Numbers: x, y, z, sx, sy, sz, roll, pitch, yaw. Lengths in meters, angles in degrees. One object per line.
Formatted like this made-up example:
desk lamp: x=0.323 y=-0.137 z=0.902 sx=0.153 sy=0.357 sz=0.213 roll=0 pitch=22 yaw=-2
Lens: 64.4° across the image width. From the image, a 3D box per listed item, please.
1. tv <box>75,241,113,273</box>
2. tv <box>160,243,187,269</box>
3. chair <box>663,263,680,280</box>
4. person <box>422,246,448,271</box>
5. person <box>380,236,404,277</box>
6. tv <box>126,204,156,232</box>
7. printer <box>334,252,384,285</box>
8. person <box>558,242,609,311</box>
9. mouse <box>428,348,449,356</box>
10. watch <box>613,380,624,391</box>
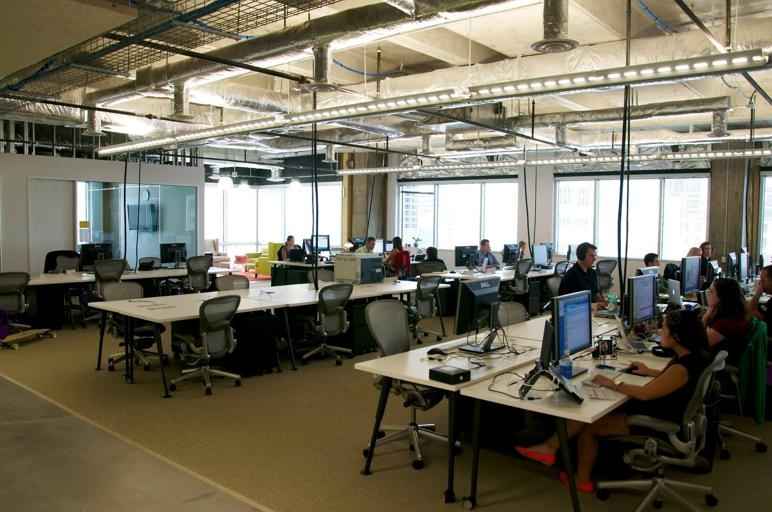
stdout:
tv: x=-5.548 y=0.050 z=11.585 sx=0.645 sy=0.594 sz=0.204 roll=0 pitch=2 yaw=-42
tv: x=-4.563 y=0.013 z=13.080 sx=0.575 sy=0.481 sz=0.193 roll=-1 pitch=9 yaw=-33
chair: x=4.908 y=0.280 z=10.523 sx=0.284 sy=0.306 sz=0.261 roll=6 pitch=8 yaw=44
person: x=1.126 y=0.081 z=14.054 sx=0.567 sy=0.945 sz=0.484 roll=1 pitch=31 yaw=9
person: x=0.190 y=0.050 z=12.765 sx=0.628 sy=0.871 sz=0.520 roll=8 pitch=-12 yaw=-43
tv: x=-5.616 y=-0.861 z=13.895 sx=0.369 sy=0.659 sz=0.726 roll=-1 pitch=1 yaw=41
printer: x=-0.482 y=0.210 z=10.198 sx=0.595 sy=0.425 sz=0.586 roll=1 pitch=-1 yaw=-38
person: x=2.630 y=0.271 z=8.172 sx=0.665 sy=0.868 sz=0.618 roll=-8 pitch=10 yaw=-36
mouse: x=0.516 y=0.980 z=6.241 sx=0.147 sy=0.044 sz=0.077 roll=0 pitch=-2 yaw=-15
watch: x=2.135 y=1.190 z=5.612 sx=0.062 sy=0.095 sz=0.096 roll=-6 pitch=6 yaw=20
